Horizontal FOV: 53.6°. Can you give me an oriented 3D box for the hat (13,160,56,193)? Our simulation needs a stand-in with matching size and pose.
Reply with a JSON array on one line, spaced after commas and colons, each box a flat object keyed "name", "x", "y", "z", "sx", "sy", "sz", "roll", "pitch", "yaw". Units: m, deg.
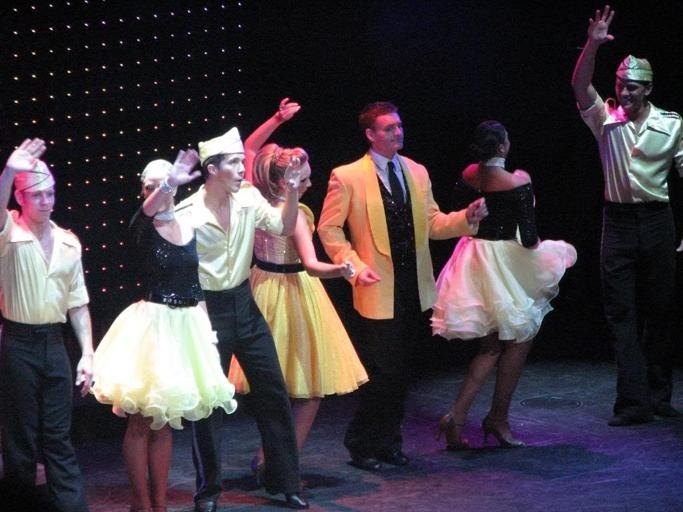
[{"name": "hat", "x": -1.324, "y": -0.336, "z": 2.934, "sx": 0.162, "sy": 0.118, "sz": 0.129, "roll": -6, "pitch": -3, "yaw": 17}]

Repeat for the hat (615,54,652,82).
[{"name": "hat", "x": 1.796, "y": -1.155, "z": 4.187, "sx": 0.188, "sy": 0.183, "sz": 0.142, "roll": -2, "pitch": 3, "yaw": 21}]

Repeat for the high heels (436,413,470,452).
[{"name": "high heels", "x": 0.669, "y": 1.060, "z": 4.044, "sx": 0.239, "sy": 0.210, "sz": 0.107, "roll": 17, "pitch": -5, "yaw": -16}]

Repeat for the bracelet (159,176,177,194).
[{"name": "bracelet", "x": -0.701, "y": -0.291, "z": 2.819, "sx": 0.055, "sy": 0.051, "sz": 0.074, "roll": 28, "pitch": 0, "yaw": 31}]

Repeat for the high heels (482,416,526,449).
[{"name": "high heels", "x": 0.962, "y": 1.055, "z": 4.009, "sx": 0.285, "sy": 0.143, "sz": 0.096, "roll": 3, "pitch": -2, "yaw": 34}]

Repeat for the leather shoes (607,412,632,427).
[{"name": "leather shoes", "x": 1.723, "y": 1.018, "z": 4.230, "sx": 0.119, "sy": 0.040, "sz": 0.078, "roll": -8, "pitch": 5, "yaw": -2}]

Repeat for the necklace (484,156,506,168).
[{"name": "necklace", "x": 0.915, "y": -0.548, "z": 4.030, "sx": 0.077, "sy": 0.046, "sz": 0.075, "roll": 4, "pitch": -4, "yaw": -42}]

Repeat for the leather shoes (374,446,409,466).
[{"name": "leather shoes", "x": 0.280, "y": 1.126, "z": 3.840, "sx": 0.210, "sy": 0.081, "sz": 0.078, "roll": -1, "pitch": 9, "yaw": 35}]

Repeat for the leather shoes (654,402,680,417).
[{"name": "leather shoes", "x": 2.075, "y": 0.989, "z": 4.359, "sx": 0.159, "sy": 0.060, "sz": 0.082, "roll": -2, "pitch": 3, "yaw": 24}]

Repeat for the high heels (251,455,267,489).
[{"name": "high heels", "x": -0.431, "y": 1.126, "z": 3.531, "sx": 0.059, "sy": 0.148, "sz": 0.113, "roll": 1, "pitch": 9, "yaw": -15}]

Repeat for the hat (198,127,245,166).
[{"name": "hat", "x": -0.575, "y": -0.498, "z": 3.157, "sx": 0.209, "sy": 0.137, "sz": 0.155, "roll": -13, "pitch": 2, "yaw": 31}]

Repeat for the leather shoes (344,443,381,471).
[{"name": "leather shoes", "x": 0.101, "y": 1.117, "z": 3.775, "sx": 0.089, "sy": 0.105, "sz": 0.257, "roll": -11, "pitch": 5, "yaw": -41}]
